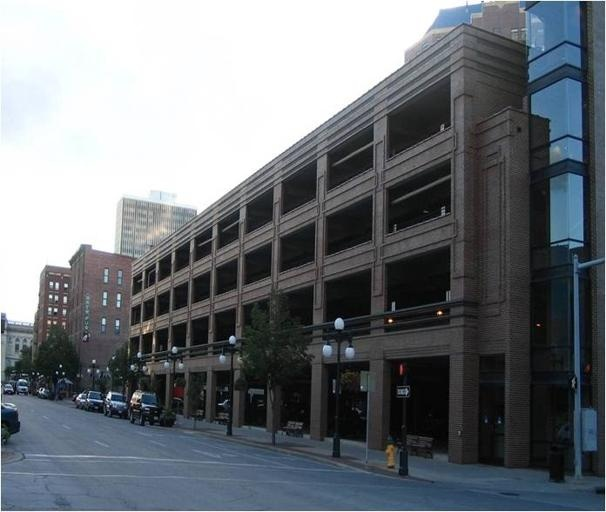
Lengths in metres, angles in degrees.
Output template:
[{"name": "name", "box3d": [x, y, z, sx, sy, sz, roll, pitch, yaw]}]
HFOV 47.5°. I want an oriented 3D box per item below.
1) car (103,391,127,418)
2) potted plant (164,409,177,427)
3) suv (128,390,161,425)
[{"name": "car", "box3d": [-15.722, 12.583, 58.205, 1.463, 2.350, 3.152, 8, -18, -25]}, {"name": "potted plant", "box3d": [-9.779, 11.974, 50.777, 1.013, 1.068, 1.008, 12, -19, -43]}, {"name": "suv", "box3d": [-11.693, 11.378, 51.359, 1.636, 1.958, 3.299, 7, -18, -25]}]
